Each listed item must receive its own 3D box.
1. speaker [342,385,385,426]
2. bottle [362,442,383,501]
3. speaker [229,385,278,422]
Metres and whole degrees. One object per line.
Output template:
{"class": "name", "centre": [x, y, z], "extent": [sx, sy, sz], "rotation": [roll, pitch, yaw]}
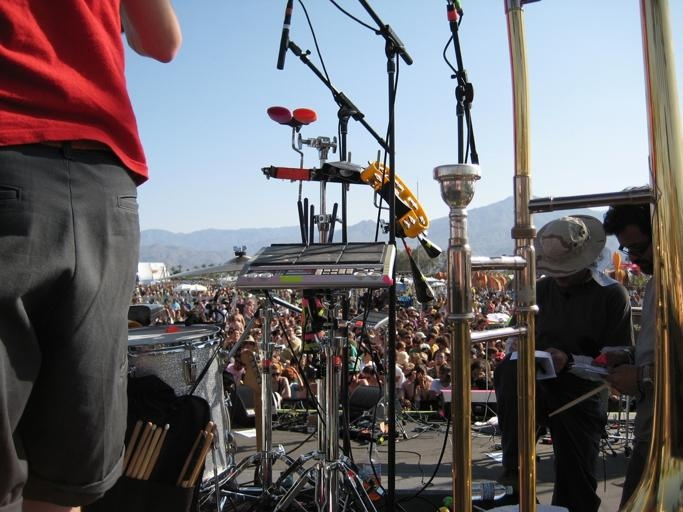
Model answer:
{"class": "speaker", "centre": [0.231, 1.631, 6.150], "extent": [0.470, 0.490, 0.276], "rotation": [-2, -15, 39]}
{"class": "bottle", "centre": [0.193, 1.445, 3.916], "extent": [0.115, 0.404, 0.106], "rotation": [6, -23, 3]}
{"class": "speaker", "centre": [-1.017, 1.535, 6.000], "extent": [0.550, 0.372, 0.537], "rotation": [7, -23, -28]}
